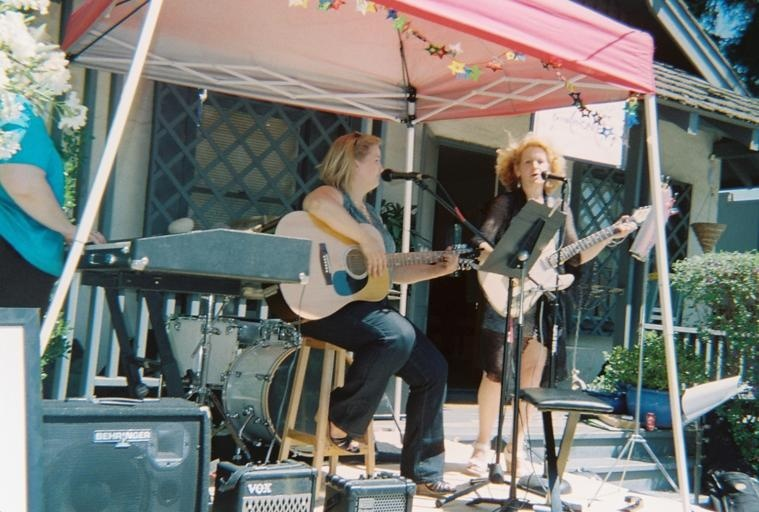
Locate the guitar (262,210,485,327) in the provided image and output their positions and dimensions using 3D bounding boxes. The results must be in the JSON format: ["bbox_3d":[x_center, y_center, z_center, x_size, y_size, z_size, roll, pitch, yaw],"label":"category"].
[{"bbox_3d":[0.037,0.109,5.624,1.474,0.621,0.221,1,-13,-27],"label":"guitar"}]

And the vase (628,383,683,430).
[{"bbox_3d":[2.554,1.415,8.189,0.558,0.386,0.579,-5,-11,40],"label":"vase"}]

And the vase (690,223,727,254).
[{"bbox_3d":[3.878,-0.224,10.191,0.350,0.391,0.412,-1,-10,19],"label":"vase"}]

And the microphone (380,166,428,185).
[{"bbox_3d":[0.121,-0.524,5.769,0.420,0.124,0.126,0,-1,12],"label":"microphone"}]

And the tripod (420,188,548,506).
[{"bbox_3d":[0.672,0.589,5.628,0.690,2.033,0.946,2,-9,3],"label":"tripod"}]

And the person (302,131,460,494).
[{"bbox_3d":[-0.027,0.334,5.832,1.064,2.335,1.063,4,7,-13],"label":"person"}]

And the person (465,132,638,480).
[{"bbox_3d":[1.220,0.397,6.041,1.161,2.418,0.930,3,1,7],"label":"person"}]

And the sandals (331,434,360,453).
[{"bbox_3d":[-0.220,1.240,5.685,0.202,0.052,0.096,16,-30,39],"label":"sandals"}]

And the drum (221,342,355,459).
[{"bbox_3d":[-0.485,0.893,5.774,0.799,0.709,0.768,4,5,-38],"label":"drum"}]

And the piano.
[{"bbox_3d":[-1.020,0.043,4.749,1.252,0.301,0.665,4,-10,-8],"label":"piano"}]

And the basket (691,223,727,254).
[{"bbox_3d":[3.899,-0.213,10.222,0.367,0.312,0.383,1,-2,9],"label":"basket"}]

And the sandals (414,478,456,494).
[{"bbox_3d":[0.363,1.496,5.565,0.253,0.105,0.106,1,3,0],"label":"sandals"}]

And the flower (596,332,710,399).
[{"bbox_3d":[2.791,1.033,8.529,0.696,0.464,0.675,-1,-2,-12],"label":"flower"}]
